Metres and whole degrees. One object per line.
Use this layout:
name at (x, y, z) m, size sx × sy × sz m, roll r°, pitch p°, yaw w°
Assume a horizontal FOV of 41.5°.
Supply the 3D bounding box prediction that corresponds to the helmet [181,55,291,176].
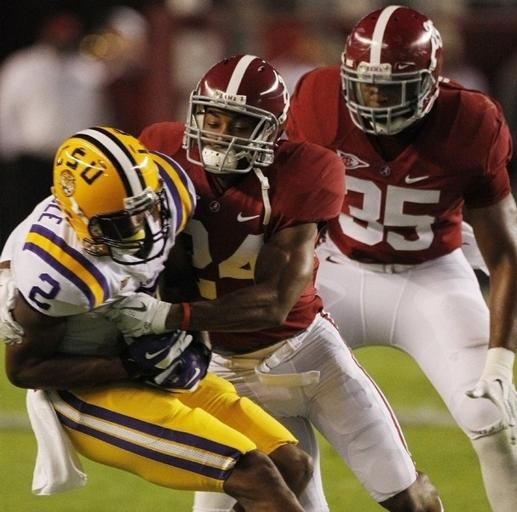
helmet at (-0.045, -0.464, 2.165) m, size 0.379 × 0.312 × 0.428 m, roll 14°, pitch 30°, yaw 14°

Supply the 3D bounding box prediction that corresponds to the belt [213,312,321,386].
belt at (0.043, 0.343, 2.271) m, size 0.326 × 0.197 × 0.062 m, roll -15°, pitch 87°, yaw -2°

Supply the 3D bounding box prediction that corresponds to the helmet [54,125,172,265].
helmet at (-0.394, -0.157, 1.829) m, size 0.257 × 0.308 × 0.299 m, roll -12°, pitch 43°, yaw -9°
